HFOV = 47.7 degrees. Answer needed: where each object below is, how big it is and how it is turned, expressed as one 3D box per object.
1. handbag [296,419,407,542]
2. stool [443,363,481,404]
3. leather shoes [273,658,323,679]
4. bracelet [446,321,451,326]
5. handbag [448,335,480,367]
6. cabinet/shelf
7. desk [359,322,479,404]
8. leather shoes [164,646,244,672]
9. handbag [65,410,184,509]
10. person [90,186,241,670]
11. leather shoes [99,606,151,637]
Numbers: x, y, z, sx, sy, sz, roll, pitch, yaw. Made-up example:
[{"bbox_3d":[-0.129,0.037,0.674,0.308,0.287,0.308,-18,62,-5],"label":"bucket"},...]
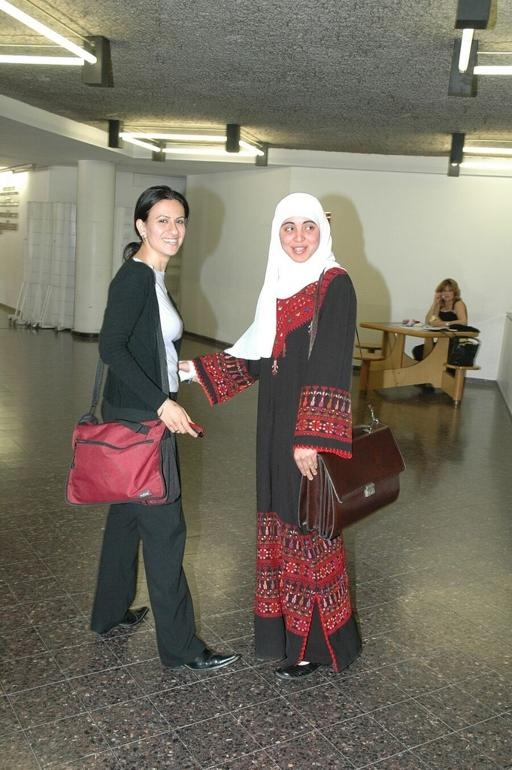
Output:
[{"bbox_3d":[0.302,0.272,1.713,0.138,0.263,0.417,8,7,37],"label":"handbag"},{"bbox_3d":[2.590,-0.073,7.505,0.494,0.469,0.509,-11,18,-32],"label":"stool"},{"bbox_3d":[0.127,0.902,1.830,0.130,0.050,0.047,-5,18,-19],"label":"leather shoes"},{"bbox_3d":[2.543,-0.804,7.665,0.060,0.035,0.250,4,12,13],"label":"bracelet"},{"bbox_3d":[2.658,-0.429,7.424,0.416,0.404,0.372,3,1,9],"label":"handbag"},{"bbox_3d":[-3.994,-2.282,11.230,1.696,2.454,0.450,8,7,39],"label":"cabinet/shelf"},{"bbox_3d":[2.098,-0.286,7.686,1.313,0.780,1.314,-7,11,-41],"label":"desk"},{"bbox_3d":[-0.171,0.859,1.831,0.236,0.092,0.077,-1,3,-8],"label":"leather shoes"},{"bbox_3d":[-0.374,0.218,1.638,0.315,0.262,0.224,3,5,-6],"label":"handbag"},{"bbox_3d":[-0.267,0.163,1.773,0.427,1.504,0.584,3,6,-13],"label":"person"},{"bbox_3d":[-0.483,0.855,2.107,0.056,0.059,0.156,14,24,29],"label":"leather shoes"}]
